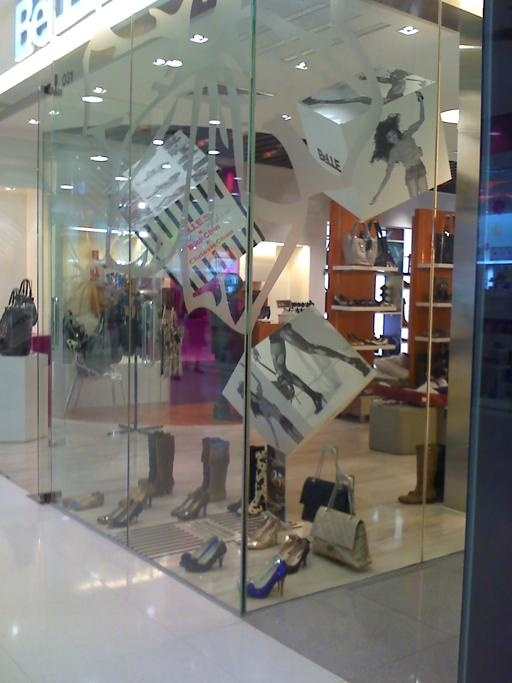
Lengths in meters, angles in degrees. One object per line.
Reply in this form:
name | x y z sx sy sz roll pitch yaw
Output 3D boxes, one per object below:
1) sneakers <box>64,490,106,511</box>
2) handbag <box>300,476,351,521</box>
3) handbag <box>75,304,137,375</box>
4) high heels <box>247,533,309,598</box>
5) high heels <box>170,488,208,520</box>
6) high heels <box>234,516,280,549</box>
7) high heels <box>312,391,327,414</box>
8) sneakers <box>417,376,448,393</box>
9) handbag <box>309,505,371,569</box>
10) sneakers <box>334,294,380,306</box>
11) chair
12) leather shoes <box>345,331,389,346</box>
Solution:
sneakers | -1.044 0.975 3.322 0.258 0.113 0.162 -1 2 -26
handbag | 0.318 0.725 2.512 0.152 0.176 0.066 2 -4 19
handbag | -0.850 0.024 3.173 0.276 0.511 0.124 37 23 23
high heels | 0.111 0.986 2.371 0.119 0.193 0.375 -2 2 37
high heels | -0.296 0.751 2.482 0.123 0.081 0.179 -9 8 44
high heels | 0.009 0.840 2.434 0.079 0.133 0.256 7 -8 30
high heels | 0.277 0.264 2.385 0.043 0.121 0.034 17 -15 -10
sneakers | 0.923 0.223 2.839 0.071 0.064 0.161 -30 13 -34
handbag | 0.373 0.894 2.456 0.187 0.195 0.077 8 0 44
sneakers | 0.415 -0.164 2.261 0.181 0.087 0.070 0 4 -11
chair | -0.974 0.221 3.273 0.346 0.630 0.408 -1 1 -5
leather shoes | 0.481 -0.009 2.344 0.238 0.079 0.078 -3 3 -23
